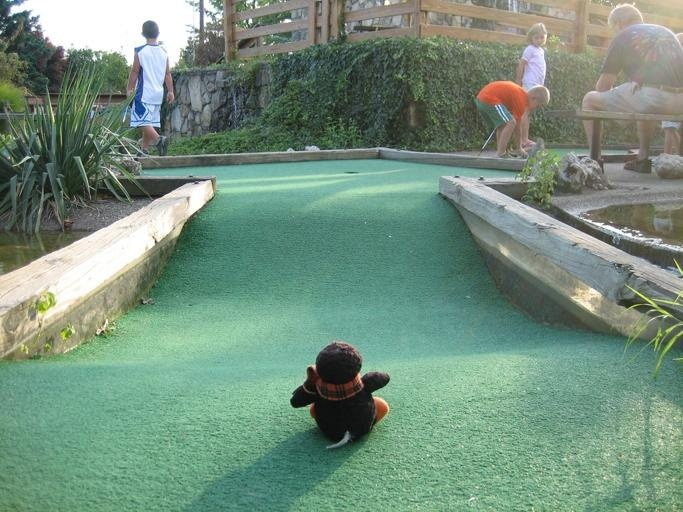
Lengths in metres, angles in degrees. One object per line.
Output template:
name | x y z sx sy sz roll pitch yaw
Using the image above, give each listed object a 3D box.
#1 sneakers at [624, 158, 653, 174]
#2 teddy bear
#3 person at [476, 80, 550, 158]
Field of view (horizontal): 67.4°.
sneakers | 3.357 -1.020 5.811 0.125 0.138 0.331 -1 12 -8
teddy bear | 0.011 0.449 1.727 0.316 0.398 0.250 -10 20 -26
person | 2.237 -1.827 6.962 0.848 1.025 0.782 -1 4 -7
